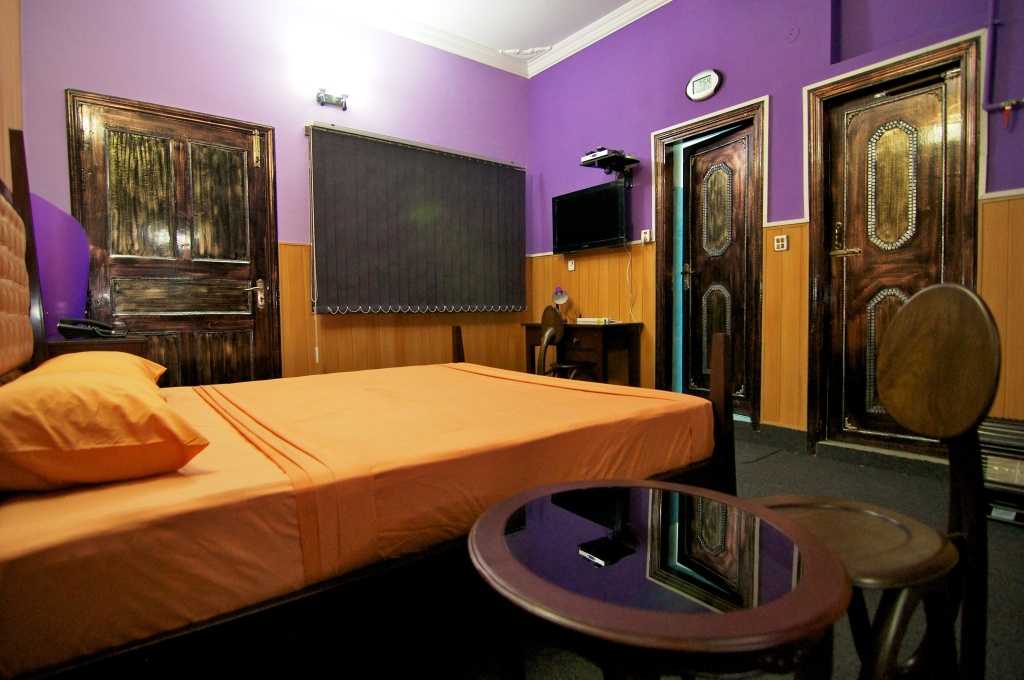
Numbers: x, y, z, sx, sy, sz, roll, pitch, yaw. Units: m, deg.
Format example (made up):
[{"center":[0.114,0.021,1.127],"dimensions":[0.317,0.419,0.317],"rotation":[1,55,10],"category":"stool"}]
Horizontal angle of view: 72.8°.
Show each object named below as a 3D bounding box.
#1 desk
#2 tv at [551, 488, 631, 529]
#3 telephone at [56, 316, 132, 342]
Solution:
[{"center":[0.696,0.041,6.600],"dimensions":[0.586,0.938,0.906],"rotation":[0,1,-41],"category":"desk"},{"center":[0.337,0.658,2.769],"dimensions":[0.173,0.047,0.189],"rotation":[-3,6,-34],"category":"tv"},{"center":[-2.757,-0.071,4.594],"dimensions":[0.246,0.106,0.325],"rotation":[7,4,41],"category":"telephone"}]
